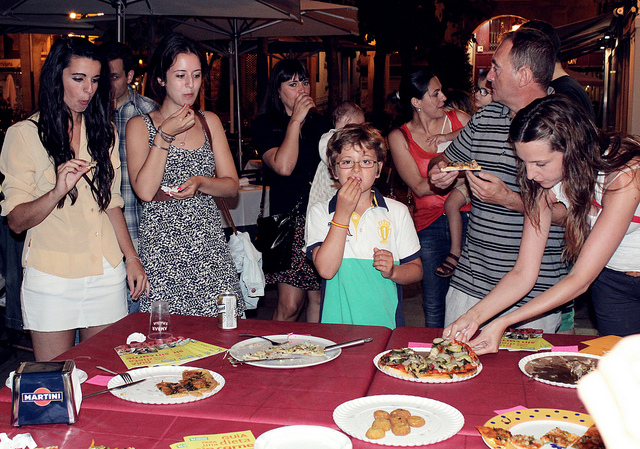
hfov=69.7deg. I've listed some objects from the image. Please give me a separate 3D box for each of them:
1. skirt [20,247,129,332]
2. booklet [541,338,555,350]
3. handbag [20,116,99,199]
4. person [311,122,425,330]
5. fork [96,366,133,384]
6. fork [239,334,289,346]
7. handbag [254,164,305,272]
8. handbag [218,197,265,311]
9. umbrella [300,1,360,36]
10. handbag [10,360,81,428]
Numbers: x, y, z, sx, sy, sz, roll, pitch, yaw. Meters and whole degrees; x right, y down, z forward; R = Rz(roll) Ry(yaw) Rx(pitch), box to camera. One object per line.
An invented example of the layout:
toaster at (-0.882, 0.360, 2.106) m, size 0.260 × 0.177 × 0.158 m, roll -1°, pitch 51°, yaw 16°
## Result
skirt at (-1.516, 0.440, 2.871) m, size 0.575 × 0.434 × 0.180 m, roll -9°, pitch 15°, yaw -35°
booklet at (1.153, 0.615, 2.343) m, size 0.051 × 0.010 × 0.101 m, roll -1°, pitch 12°, yaw 1°
handbag at (-1.584, -0.400, 2.836) m, size 0.364 × 0.510 × 0.103 m, roll -6°, pitch 13°, yaw -21°
person at (0.283, 0.016, 2.920) m, size 0.710 × 1.279 × 0.726 m, roll 2°, pitch 13°, yaw 15°
fork at (-0.928, 0.681, 2.101) m, size 0.269 × 0.029 × 0.044 m, roll 8°, pitch 15°, yaw 36°
fork at (-0.301, 0.615, 2.474) m, size 0.296 × 0.021 × 0.079 m, roll 7°, pitch 14°, yaw 34°
handbag at (-0.351, 0.056, 3.997) m, size 0.435 × 0.751 × 0.253 m, roll -1°, pitch 12°, yaw -1°
handbag at (-0.737, 0.158, 4.215) m, size 0.234 × 0.964 × 0.410 m, roll -17°, pitch 6°, yaw 1°
umbrella at (0.133, -3.412, 7.519) m, size 1.218 × 0.480 × 0.338 m, roll -10°, pitch 15°, yaw -38°
handbag at (-1.096, 0.670, 1.883) m, size 0.291 × 0.203 × 0.285 m, roll -3°, pitch 9°, yaw -35°
